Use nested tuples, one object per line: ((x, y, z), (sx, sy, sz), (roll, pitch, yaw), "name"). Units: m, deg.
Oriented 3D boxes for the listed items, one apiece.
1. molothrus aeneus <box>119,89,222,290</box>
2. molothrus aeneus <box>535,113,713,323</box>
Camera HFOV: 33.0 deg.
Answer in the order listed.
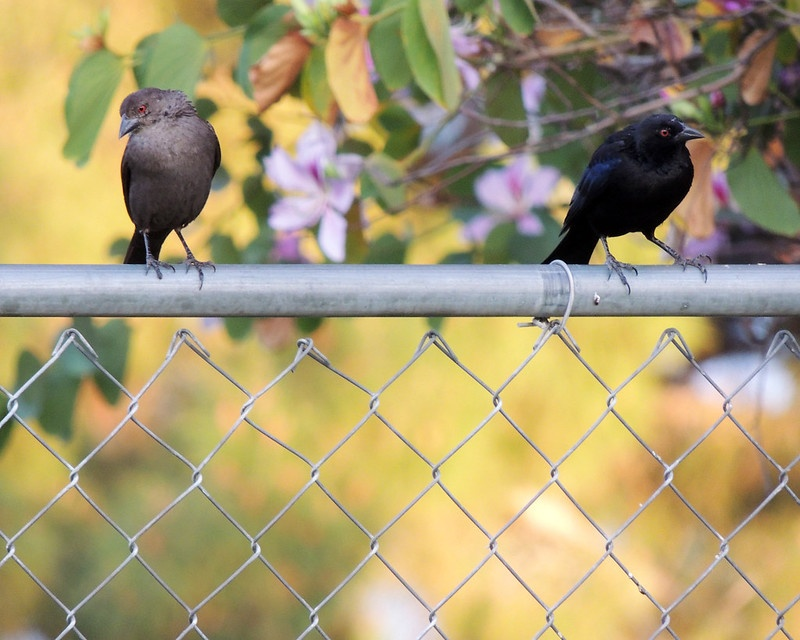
((-0.728, -0.501, 4.263), (0.329, 0.432, 0.307), (-8, 52, -5), "molothrus aeneus")
((0.716, -0.401, 4.362), (0.359, 0.544, 0.802), (-6, 13, -25), "molothrus aeneus")
